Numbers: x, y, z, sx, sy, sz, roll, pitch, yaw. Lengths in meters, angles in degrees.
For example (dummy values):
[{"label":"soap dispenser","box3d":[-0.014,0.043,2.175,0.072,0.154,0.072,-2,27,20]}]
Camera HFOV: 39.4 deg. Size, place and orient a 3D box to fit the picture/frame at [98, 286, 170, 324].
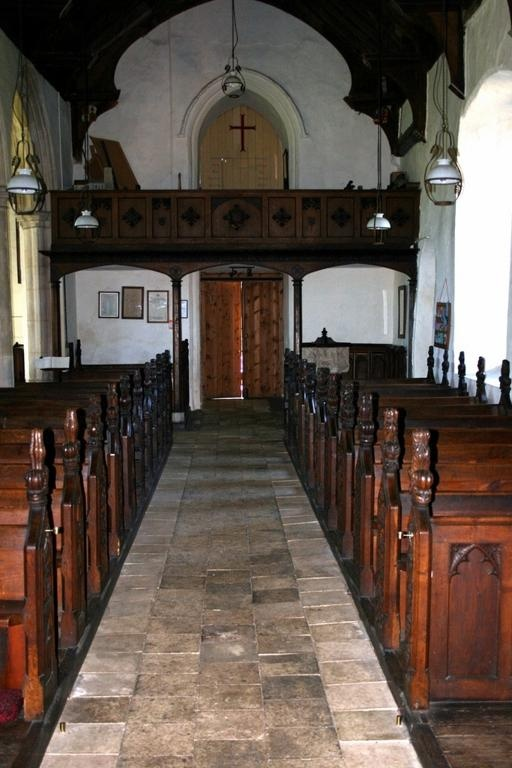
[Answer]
[{"label":"picture/frame","box3d":[-2.495,-1.606,14.615,1.437,0.723,0.171,-1,3,6]}]
